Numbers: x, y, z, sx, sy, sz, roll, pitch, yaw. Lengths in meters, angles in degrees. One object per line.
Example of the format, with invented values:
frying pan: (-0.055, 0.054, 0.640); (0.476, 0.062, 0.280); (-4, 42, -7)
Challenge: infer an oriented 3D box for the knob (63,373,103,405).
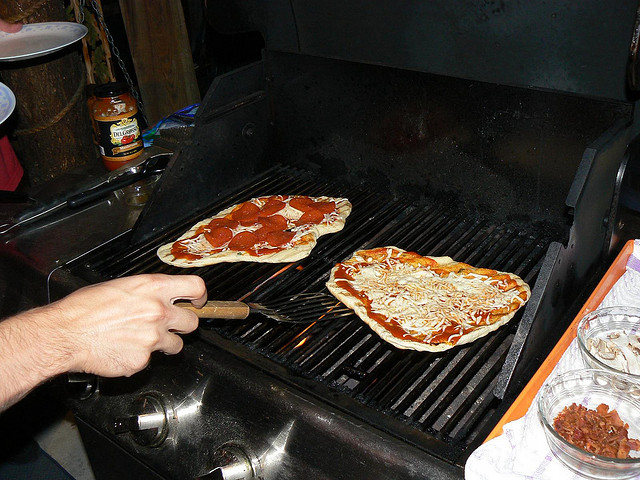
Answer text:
knob: (-0.639, 0.399, 1.312); (0.092, 0.130, 0.047); (4, 12, 6)

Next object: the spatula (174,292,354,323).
spatula: (-0.130, 0.176, 1.228); (0.382, 0.053, 0.086); (1, 22, -21)

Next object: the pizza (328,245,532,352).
pizza: (0.271, 0.135, 1.342); (0.407, 0.081, 0.479); (-27, 45, -35)
